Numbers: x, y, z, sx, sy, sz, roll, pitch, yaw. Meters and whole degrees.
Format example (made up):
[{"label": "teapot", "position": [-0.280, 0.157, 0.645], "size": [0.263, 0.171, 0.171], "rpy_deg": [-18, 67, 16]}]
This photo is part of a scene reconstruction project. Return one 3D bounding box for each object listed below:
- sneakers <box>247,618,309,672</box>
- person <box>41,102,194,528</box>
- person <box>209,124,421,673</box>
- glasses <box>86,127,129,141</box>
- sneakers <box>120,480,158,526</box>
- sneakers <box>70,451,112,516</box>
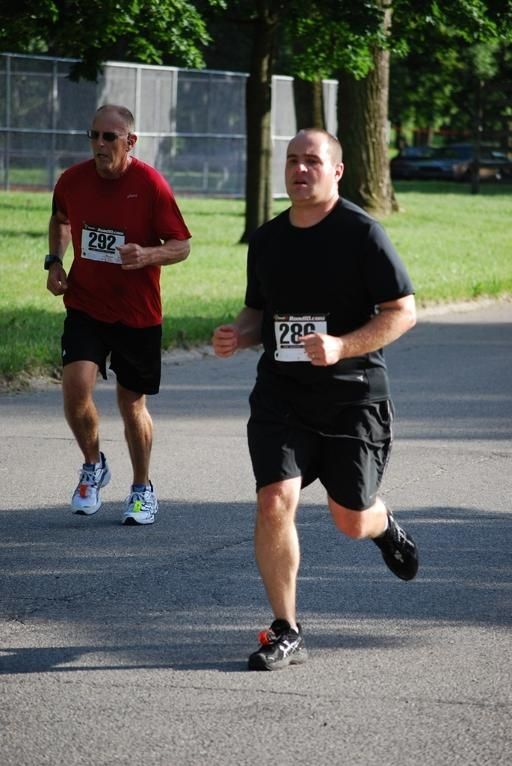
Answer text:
[{"label": "sneakers", "position": [0.070, 0.806, 3.074], "size": [0.091, 0.127, 0.250], "rpy_deg": [-6, -8, 39]}, {"label": "person", "position": [-0.696, -0.316, 4.831], "size": [0.743, 1.991, 0.568], "rpy_deg": [3, 9, 12]}, {"label": "person", "position": [0.169, 0.031, 3.303], "size": [0.652, 1.695, 0.822], "rpy_deg": [4, 9, 17]}, {"label": "glasses", "position": [-0.716, -1.139, 4.696], "size": [0.232, 0.065, 0.123], "rpy_deg": [9, 11, 42]}, {"label": "sneakers", "position": [-0.549, 0.597, 4.803], "size": [0.105, 0.109, 0.265], "rpy_deg": [-2, 2, 7]}, {"label": "sneakers", "position": [-0.808, 0.489, 5.015], "size": [0.133, 0.160, 0.365], "rpy_deg": [3, 38, 9]}]
